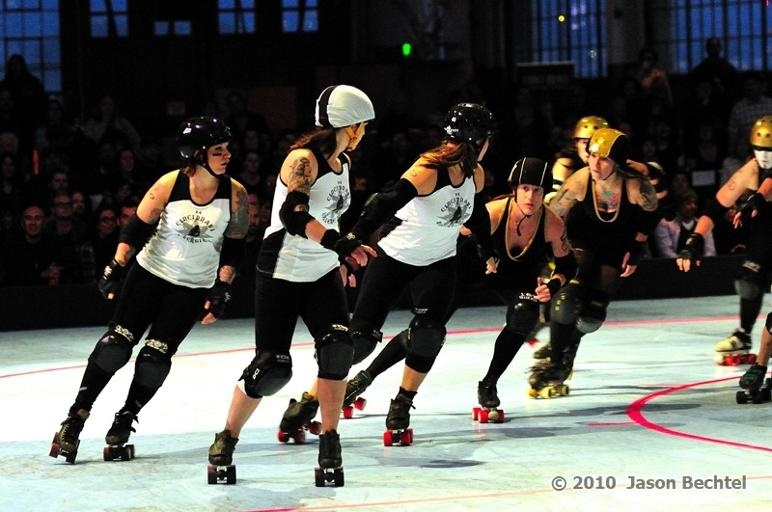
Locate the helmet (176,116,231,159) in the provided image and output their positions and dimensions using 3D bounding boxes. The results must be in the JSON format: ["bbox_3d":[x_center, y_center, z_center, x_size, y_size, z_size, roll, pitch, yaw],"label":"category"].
[{"bbox_3d":[-1.100,-0.727,4.848,0.379,0.224,0.270,-1,19,-1],"label":"helmet"}]

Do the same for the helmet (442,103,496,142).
[{"bbox_3d":[0.520,-0.846,5.028,0.337,0.244,0.314,1,10,8],"label":"helmet"}]

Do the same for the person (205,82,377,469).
[{"bbox_3d":[-0.529,0.131,4.421,0.917,2.144,0.744,-1,11,-1],"label":"person"}]

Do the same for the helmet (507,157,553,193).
[{"bbox_3d":[1.015,-0.576,5.586,0.253,0.196,0.283,9,19,-3],"label":"helmet"}]

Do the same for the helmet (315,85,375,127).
[{"bbox_3d":[-0.274,-0.863,4.478,0.398,0.199,0.267,-5,27,-25],"label":"helmet"}]
